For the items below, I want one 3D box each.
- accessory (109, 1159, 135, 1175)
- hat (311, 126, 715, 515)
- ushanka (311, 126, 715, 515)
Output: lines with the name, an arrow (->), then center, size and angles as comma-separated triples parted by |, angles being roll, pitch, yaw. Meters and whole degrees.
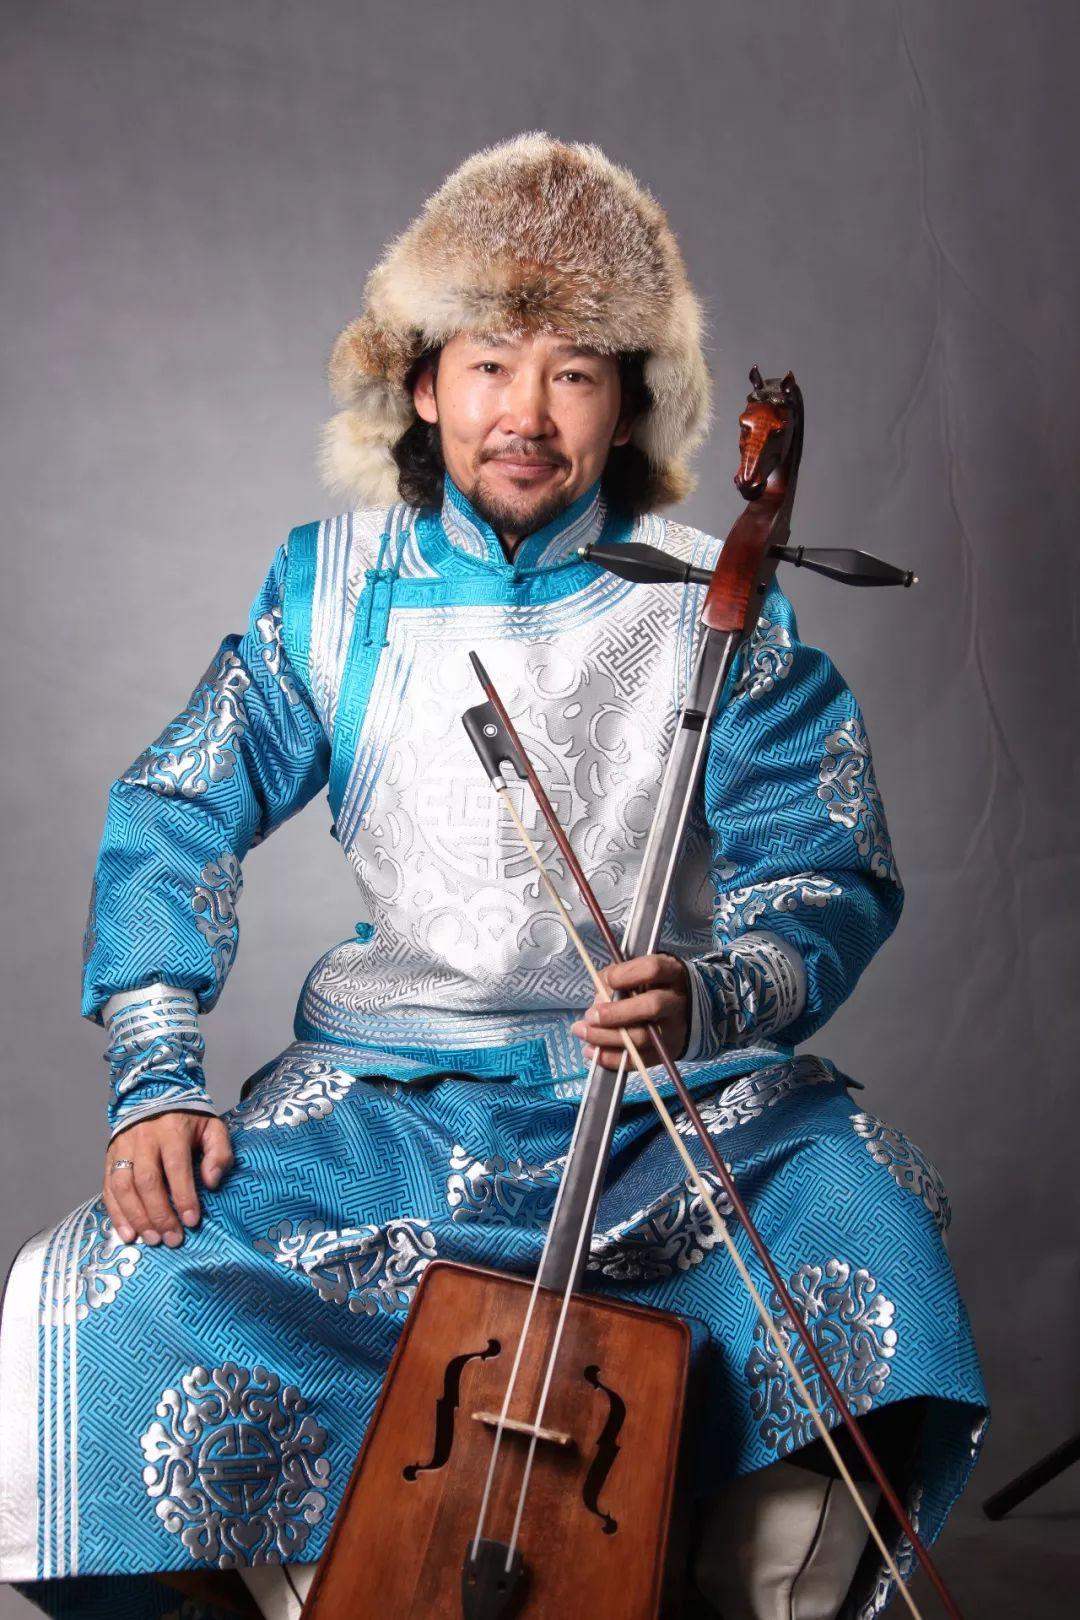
accessory -> -0.370, 0.315, 1.439 | 0.016, 0.015, 0.016 | 4, -25, 4
hat -> -0.027, -0.562, 1.883 | 0.491, 0.367, 0.432 | -10, 27, -22
ushanka -> -0.061, -0.520, 1.895 | 0.495, 0.357, 0.455 | 2, -9, -10
